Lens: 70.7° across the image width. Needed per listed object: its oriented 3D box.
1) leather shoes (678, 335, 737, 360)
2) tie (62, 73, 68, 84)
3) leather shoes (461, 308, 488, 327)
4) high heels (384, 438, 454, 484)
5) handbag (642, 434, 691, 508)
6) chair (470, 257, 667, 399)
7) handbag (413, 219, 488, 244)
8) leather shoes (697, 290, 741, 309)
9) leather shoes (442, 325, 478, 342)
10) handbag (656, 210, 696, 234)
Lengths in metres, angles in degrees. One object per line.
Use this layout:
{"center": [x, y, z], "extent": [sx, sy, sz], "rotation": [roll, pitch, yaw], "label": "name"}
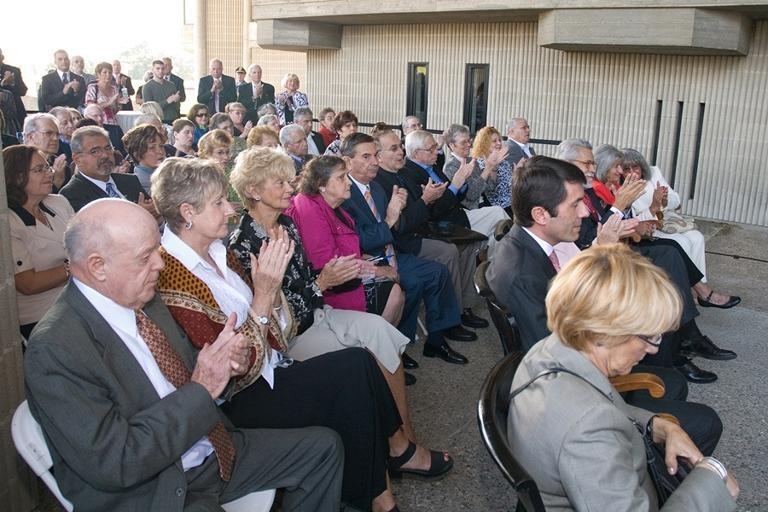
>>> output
{"center": [2.696, 0.765, 4.633], "extent": [0.508, 0.210, 0.176], "rotation": [-1, 12, 10], "label": "leather shoes"}
{"center": [-5.214, -2.911, 8.867], "extent": [0.076, 0.142, 0.031], "rotation": [2, -4, -20], "label": "tie"}
{"center": [0.862, 0.596, 5.147], "extent": [0.324, 0.137, 0.118], "rotation": [1, 7, 24], "label": "leather shoes"}
{"center": [0.199, 1.234, 3.264], "extent": [0.444, 0.210, 0.181], "rotation": [-13, 3, 22], "label": "high heels"}
{"center": [1.142, 0.902, 2.260], "extent": [0.124, 0.305, 0.229], "rotation": [-1, 7, -14], "label": "handbag"}
{"center": [0.924, 0.401, 2.914], "extent": [0.763, 1.088, 0.699], "rotation": [-7, 30, 14], "label": "chair"}
{"center": [0.627, -0.221, 5.138], "extent": [0.420, 0.103, 0.291], "rotation": [12, 16, 10], "label": "handbag"}
{"center": [3.226, 0.456, 5.318], "extent": [0.448, 0.200, 0.182], "rotation": [-4, 17, 20], "label": "leather shoes"}
{"center": [0.682, 0.689, 4.886], "extent": [0.309, 0.127, 0.132], "rotation": [0, 5, 21], "label": "leather shoes"}
{"center": [3.227, -0.372, 6.049], "extent": [0.450, 0.162, 0.595], "rotation": [3, 19, 22], "label": "handbag"}
